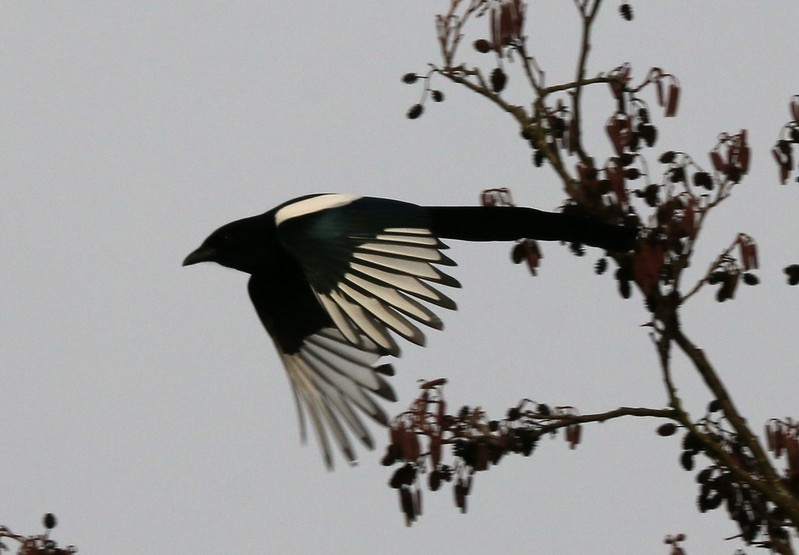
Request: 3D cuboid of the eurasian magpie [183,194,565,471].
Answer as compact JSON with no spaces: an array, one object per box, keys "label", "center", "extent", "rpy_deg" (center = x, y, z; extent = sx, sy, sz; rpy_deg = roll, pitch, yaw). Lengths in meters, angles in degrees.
[{"label":"eurasian magpie","center":[-0.087,0.156,5.766],"extent":[0.985,0.923,0.372],"rpy_deg":[-10,-95,6]}]
